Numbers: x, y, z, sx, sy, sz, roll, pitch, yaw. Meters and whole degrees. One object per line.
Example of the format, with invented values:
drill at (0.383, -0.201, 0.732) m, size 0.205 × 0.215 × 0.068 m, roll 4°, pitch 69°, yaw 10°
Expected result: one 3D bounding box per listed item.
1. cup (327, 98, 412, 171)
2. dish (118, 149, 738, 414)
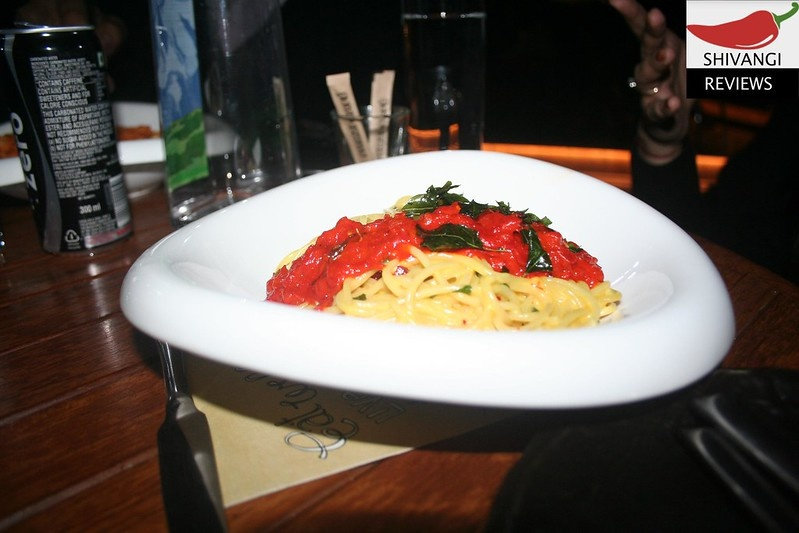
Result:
cup at (-0.067, -0.339, 1.443) m, size 0.177 × 0.148 × 0.194 m, roll -3°, pitch 7°, yaw 0°
dish at (0.056, -0.029, 0.960) m, size 0.898 × 0.214 × 0.622 m, roll 3°, pitch 23°, yaw 7°
